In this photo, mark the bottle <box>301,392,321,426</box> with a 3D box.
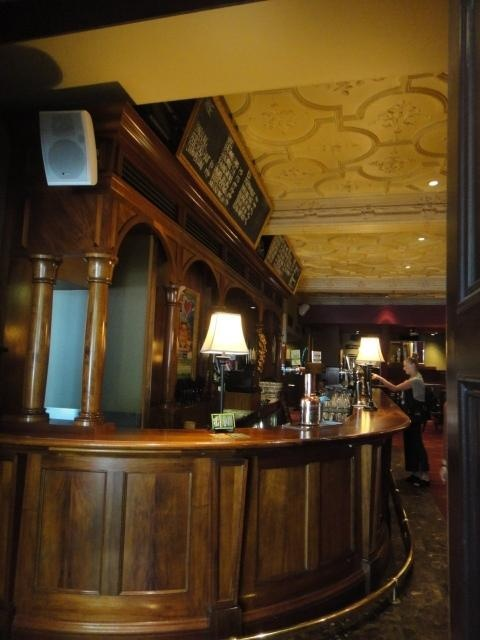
[{"bbox_3d":[0.466,0.576,3.117,0.113,0.198,0.227,-5,-10,39],"label":"bottle"}]

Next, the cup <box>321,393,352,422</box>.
[{"bbox_3d":[0.778,0.694,3.906,0.192,0.211,0.210,0,-8,0],"label":"cup"}]

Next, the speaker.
[{"bbox_3d":[-1.043,-1.030,2.920,0.311,0.366,0.213,1,-8,4],"label":"speaker"}]
